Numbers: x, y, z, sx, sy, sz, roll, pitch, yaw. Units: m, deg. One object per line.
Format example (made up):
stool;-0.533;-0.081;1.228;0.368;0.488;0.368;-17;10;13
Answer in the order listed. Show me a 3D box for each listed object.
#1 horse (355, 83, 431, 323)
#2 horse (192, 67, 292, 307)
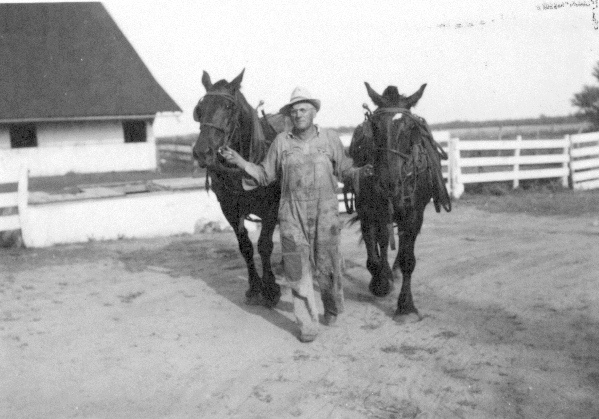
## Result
horse;1.344;-0.085;7.135;1.605;3.492;1.162;0;5;21
horse;-0.765;-0.270;7.453;1.159;3.507;2.647;-4;4;-1
